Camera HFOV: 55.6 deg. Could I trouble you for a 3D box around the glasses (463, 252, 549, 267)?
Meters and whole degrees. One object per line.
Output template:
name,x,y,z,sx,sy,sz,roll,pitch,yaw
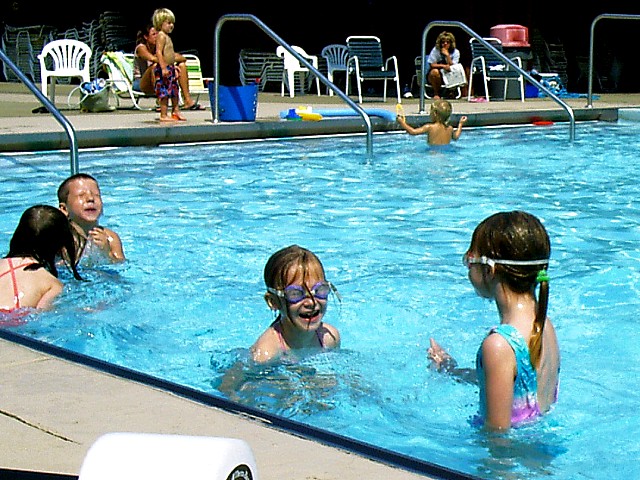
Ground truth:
glasses,0.679,0.078,2.198,0.258,0.045,0.089,8,-2,26

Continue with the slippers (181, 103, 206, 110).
slippers,-2.298,-2.477,11.352,0.561,0.166,0.185,-3,15,-12

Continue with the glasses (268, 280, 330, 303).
glasses,-0.086,0.228,2.697,0.283,0.106,0.123,9,-1,-4

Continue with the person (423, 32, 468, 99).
person,2.885,-4.044,13.918,0.657,1.530,1.064,9,-1,-40

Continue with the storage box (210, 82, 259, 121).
storage box,-1.246,-2.057,9.116,0.576,0.594,0.348,9,-1,-9

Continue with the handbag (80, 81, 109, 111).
handbag,-4.109,-2.591,10.982,0.578,0.564,0.477,-2,7,-41

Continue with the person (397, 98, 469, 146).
person,1.711,-1.769,9.191,0.837,0.723,1.296,8,-1,15

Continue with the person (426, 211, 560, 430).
person,0.661,0.429,2.338,0.534,1.040,0.495,3,10,16
